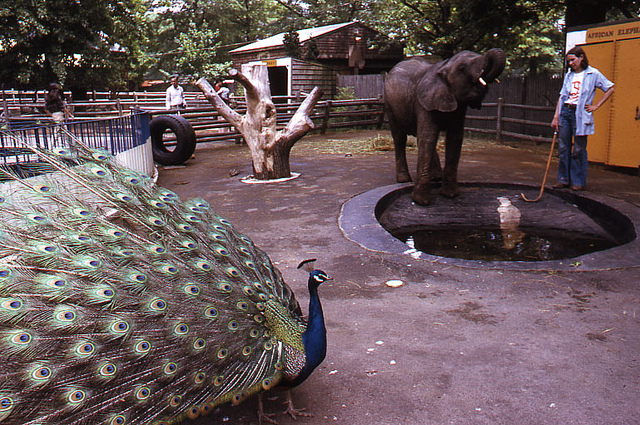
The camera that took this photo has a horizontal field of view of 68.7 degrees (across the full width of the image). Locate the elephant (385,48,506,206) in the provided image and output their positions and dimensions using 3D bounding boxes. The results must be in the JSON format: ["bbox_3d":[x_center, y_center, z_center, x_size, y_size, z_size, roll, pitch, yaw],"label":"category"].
[{"bbox_3d":[2.242,-1.653,9.014,1.594,2.709,2.205,-4,21,1],"label":"elephant"}]

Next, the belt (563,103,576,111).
[{"bbox_3d":[4.538,-1.930,8.485,0.170,0.039,0.149,11,6,-10],"label":"belt"}]

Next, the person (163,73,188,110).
[{"bbox_3d":[-5.684,-4.708,18.261,0.698,1.260,2.039,-11,20,-16],"label":"person"}]
